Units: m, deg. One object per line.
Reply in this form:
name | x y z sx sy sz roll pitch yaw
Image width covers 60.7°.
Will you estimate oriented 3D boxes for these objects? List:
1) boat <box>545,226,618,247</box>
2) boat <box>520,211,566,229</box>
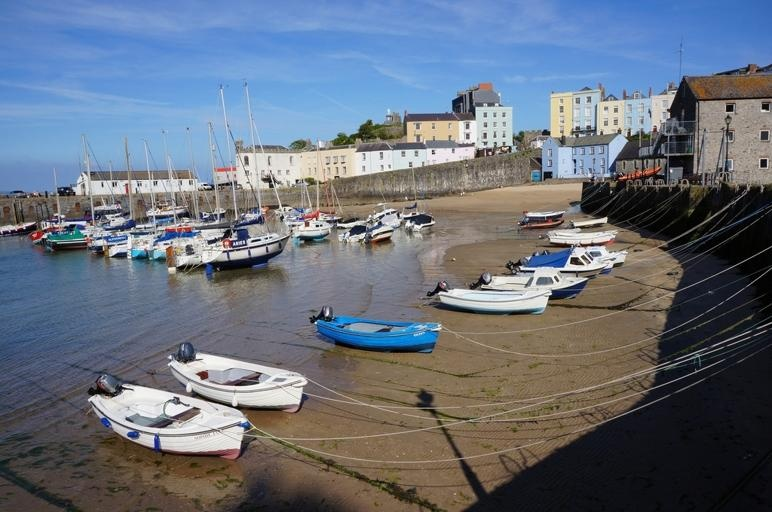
boat | 11.643 -1.097 40.718 4.726 1.130 1.500 2 12 29
boat | 11.791 -2.612 50.209 3.347 1.163 1.471 0 24 0
